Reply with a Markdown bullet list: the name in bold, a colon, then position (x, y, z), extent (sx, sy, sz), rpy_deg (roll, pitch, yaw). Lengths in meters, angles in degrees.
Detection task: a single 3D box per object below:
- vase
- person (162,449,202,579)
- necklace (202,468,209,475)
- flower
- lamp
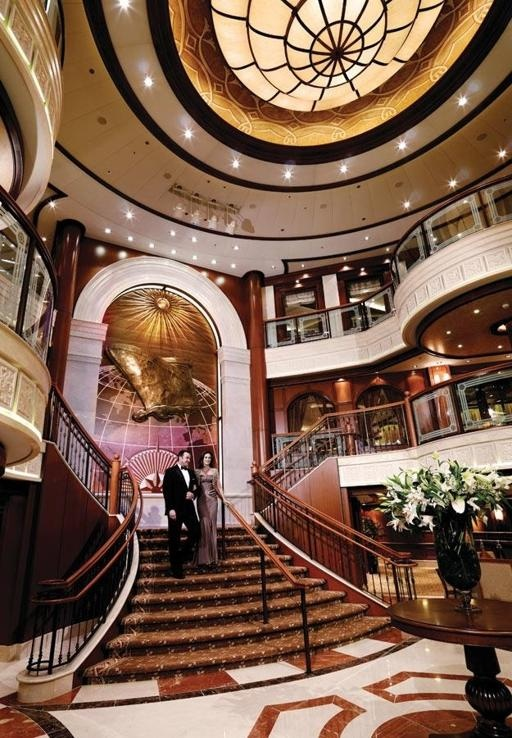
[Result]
- **vase**: position (1.182, 1.123, 2.473), extent (0.237, 0.538, 0.243), rpy_deg (-13, -20, 21)
- **person**: position (-0.892, 1.794, 5.188), extent (0.404, 1.409, 0.906), rpy_deg (-2, -18, -9)
- **necklace**: position (-0.625, 1.341, 5.427), extent (0.073, 0.070, 0.024), rpy_deg (-15, -44, -4)
- **flower**: position (1.246, 0.581, 2.655), extent (0.767, 0.469, 0.748), rpy_deg (-4, -5, -37)
- **lamp**: position (-1.170, -3.787, 10.206), extent (1.736, 0.632, 0.713), rpy_deg (14, -69, -27)
